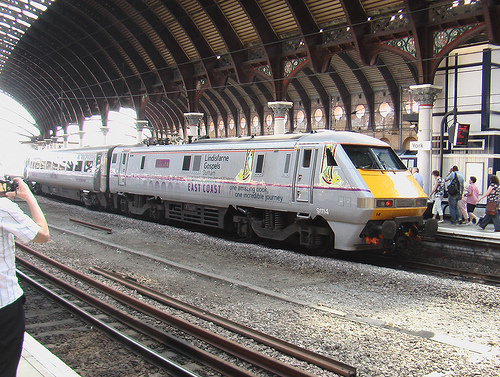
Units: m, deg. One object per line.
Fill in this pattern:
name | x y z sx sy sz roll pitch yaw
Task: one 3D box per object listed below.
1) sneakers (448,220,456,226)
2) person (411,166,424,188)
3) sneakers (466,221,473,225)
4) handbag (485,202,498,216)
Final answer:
sneakers | 8.622 1.488 14.394 0.199 0.168 0.230 3 4 28
person | 7.127 -0.466 14.413 0.339 1.106 0.394 -12 -41 14
sneakers | 9.500 1.538 14.670 0.355 0.125 0.113 1 -2 -23
handbag | 9.212 0.799 12.942 0.347 0.524 0.247 3 4 31
